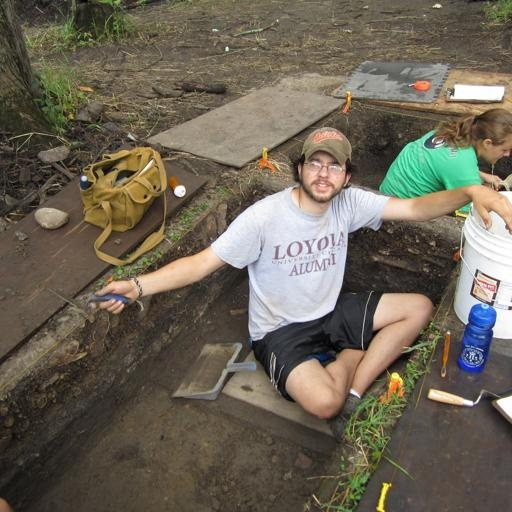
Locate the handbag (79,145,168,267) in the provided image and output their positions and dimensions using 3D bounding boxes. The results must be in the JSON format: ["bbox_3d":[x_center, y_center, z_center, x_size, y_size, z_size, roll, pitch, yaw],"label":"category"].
[{"bbox_3d":[-0.783,-0.376,2.689,0.620,0.335,0.765,19,45,15],"label":"handbag"}]

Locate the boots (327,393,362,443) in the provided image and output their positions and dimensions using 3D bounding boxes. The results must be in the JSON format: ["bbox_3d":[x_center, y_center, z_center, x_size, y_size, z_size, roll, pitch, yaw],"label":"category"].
[{"bbox_3d":[0.446,0.838,2.268,0.126,0.233,0.221,20,45,28],"label":"boots"}]

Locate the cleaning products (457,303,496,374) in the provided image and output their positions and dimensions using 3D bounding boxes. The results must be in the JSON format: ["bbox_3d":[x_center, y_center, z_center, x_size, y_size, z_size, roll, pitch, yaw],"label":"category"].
[{"bbox_3d":[0.946,0.363,1.953,0.144,0.341,0.140,19,48,22],"label":"cleaning products"}]
